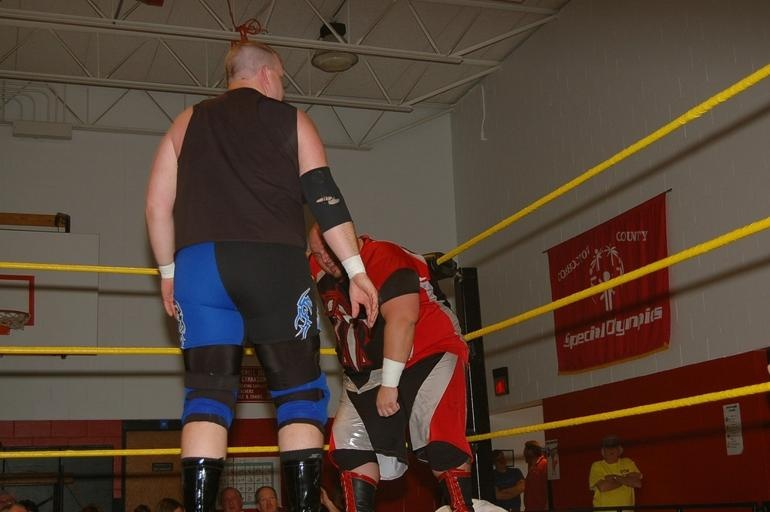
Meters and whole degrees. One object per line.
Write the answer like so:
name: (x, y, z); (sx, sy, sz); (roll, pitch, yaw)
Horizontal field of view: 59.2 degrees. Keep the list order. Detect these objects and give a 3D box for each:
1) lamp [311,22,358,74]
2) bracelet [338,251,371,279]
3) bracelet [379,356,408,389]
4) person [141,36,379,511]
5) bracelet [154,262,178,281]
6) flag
lamp: (-0.773, -3.198, 10.165); (0.736, 0.649, 0.750); (1, -20, -5)
bracelet: (-0.169, 0.055, 3.705); (0.127, 0.135, 0.125); (-26, -13, 23)
bracelet: (0.037, 0.721, 4.151); (0.167, 0.171, 0.151); (7, -10, -15)
person: (-0.702, 0.057, 3.621); (1.179, 2.504, 0.507); (-2, -17, -3)
bracelet: (-1.234, 0.093, 3.867); (0.116, 0.088, 0.115); (5, -7, -37)
flag: (2.896, 0.386, 8.678); (0.161, 2.025, 2.363); (9, -15, -29)
